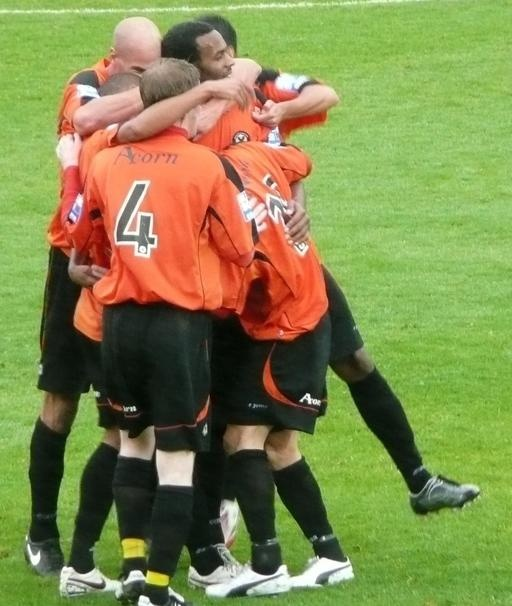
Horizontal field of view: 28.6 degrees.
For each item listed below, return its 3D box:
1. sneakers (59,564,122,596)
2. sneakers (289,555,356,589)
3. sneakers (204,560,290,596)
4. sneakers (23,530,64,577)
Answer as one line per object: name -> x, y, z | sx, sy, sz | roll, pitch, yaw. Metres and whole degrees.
sneakers -> -0.682, 1.116, 4.061 | 0.280, 0.121, 0.101 | -1, -2, -18
sneakers -> 0.275, 1.093, 4.147 | 0.299, 0.131, 0.102 | -6, -4, -12
sneakers -> -0.032, 1.100, 4.032 | 0.349, 0.143, 0.125 | 0, -9, -1
sneakers -> -0.914, 1.077, 4.291 | 0.176, 0.106, 0.189 | -1, 12, -5
